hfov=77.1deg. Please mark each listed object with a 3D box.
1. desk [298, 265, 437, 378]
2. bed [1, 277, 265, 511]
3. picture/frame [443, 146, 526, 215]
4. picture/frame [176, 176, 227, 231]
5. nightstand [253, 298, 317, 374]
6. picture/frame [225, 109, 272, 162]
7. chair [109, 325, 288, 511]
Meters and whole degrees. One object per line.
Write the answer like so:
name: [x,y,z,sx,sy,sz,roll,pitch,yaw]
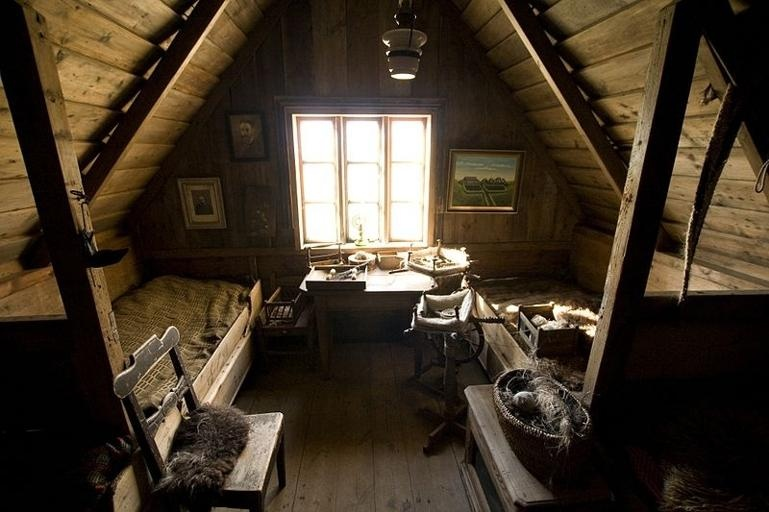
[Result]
desk: [-0.162,0.761,4.870,1.636,0.969,0.870,-1,30,-3]
bed: [-1.698,0.782,3.665,0.824,0.684,1.461,-1,17,-3]
picture/frame: [0.993,-0.803,4.922,0.692,0.567,0.053,1,15,-2]
picture/frame: [-1.824,-0.550,4.813,0.522,0.635,0.069,-1,22,-4]
nightstand: [-0.912,0.800,4.719,0.574,0.590,0.904,-2,40,-4]
picture/frame: [-1.322,-1.189,4.667,0.497,0.576,0.077,-1,27,-2]
chair: [-1.278,1.113,3.250,0.975,1.384,0.823,4,25,-1]
